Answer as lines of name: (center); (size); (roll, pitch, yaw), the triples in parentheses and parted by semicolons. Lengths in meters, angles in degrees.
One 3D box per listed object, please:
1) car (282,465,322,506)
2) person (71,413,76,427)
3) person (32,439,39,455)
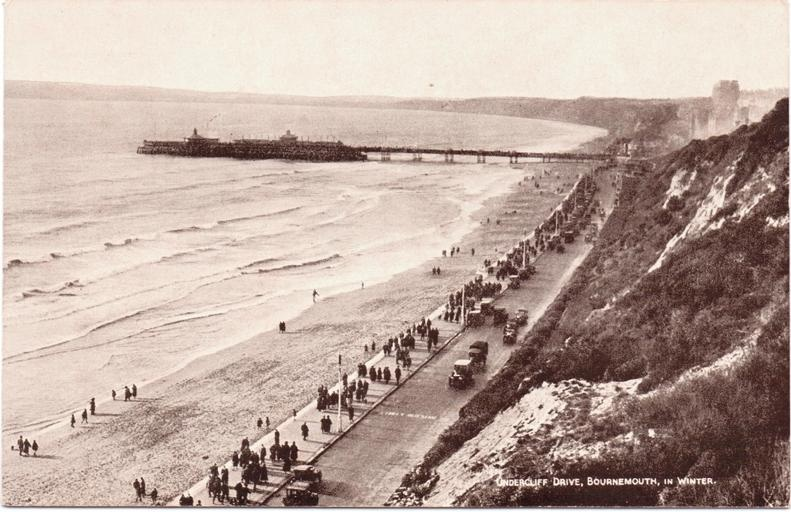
car: (-3.725, 9.346, 37.115); (0.920, 0.814, 1.738); (3, 18, 8)
person: (-15.750, 7.902, 44.091); (0.274, 0.548, 0.857); (-5, 11, -20)
person: (-16.732, 8.734, 41.943); (0.316, 0.706, 0.991); (-5, 12, -23)
